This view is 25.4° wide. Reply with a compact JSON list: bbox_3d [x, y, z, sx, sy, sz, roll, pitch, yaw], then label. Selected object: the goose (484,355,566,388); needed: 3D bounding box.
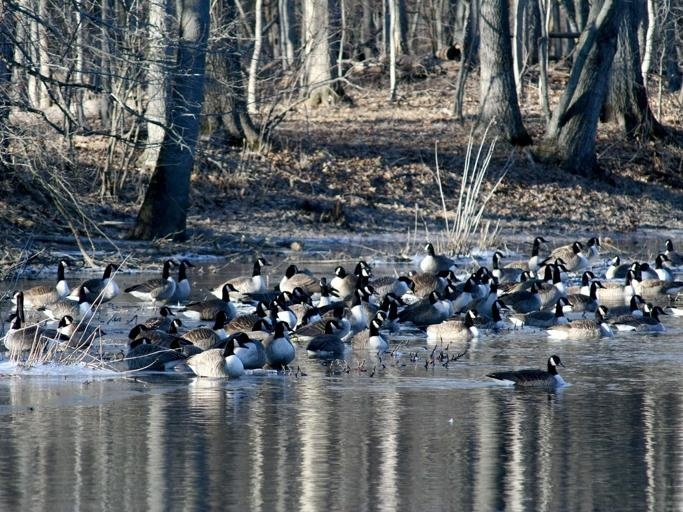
[{"bbox_3d":[3.693,2.291,29.347,1.342,0.618,1.812,0,1,15],"label":"goose"}]
